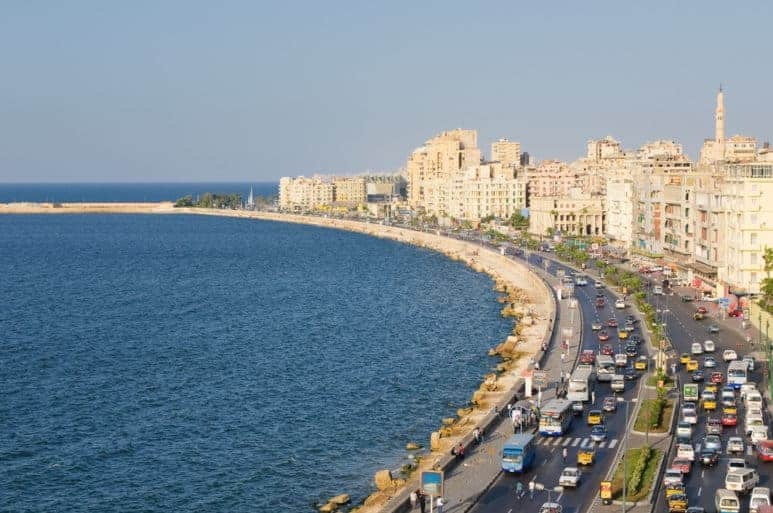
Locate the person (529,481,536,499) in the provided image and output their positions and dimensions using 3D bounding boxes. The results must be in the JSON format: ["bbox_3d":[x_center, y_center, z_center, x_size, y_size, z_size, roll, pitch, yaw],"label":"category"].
[{"bbox_3d":[15.036,24.011,101.261,0.764,1.580,1.573,-6,13,6],"label":"person"}]
